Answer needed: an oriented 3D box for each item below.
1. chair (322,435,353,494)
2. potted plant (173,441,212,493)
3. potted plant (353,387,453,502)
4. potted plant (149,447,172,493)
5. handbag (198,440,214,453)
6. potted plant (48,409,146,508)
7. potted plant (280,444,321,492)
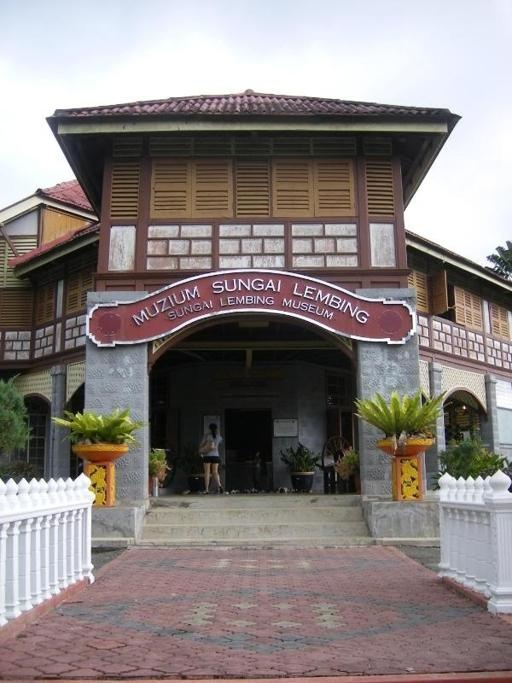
[{"bbox_3d":[2.011,3.142,14.066,1.011,1.348,0.926,9,-20,-26],"label":"chair"},{"bbox_3d":[-1.499,3.370,14.625,0.944,1.359,0.844,0,-15,-39],"label":"potted plant"},{"bbox_3d":[2.285,1.669,9.028,1.748,1.793,1.744,0,-13,0],"label":"potted plant"},{"bbox_3d":[-1.817,2.481,10.652,0.543,0.787,0.593,-15,-23,31],"label":"potted plant"},{"bbox_3d":[-1.093,2.326,12.195,0.318,0.289,0.114,-1,-13,1],"label":"handbag"},{"bbox_3d":[-2.401,1.822,8.710,1.120,1.492,1.206,2,-13,-13],"label":"potted plant"},{"bbox_3d":[1.097,3.103,13.347,0.752,1.004,0.830,7,-16,-15],"label":"potted plant"}]
